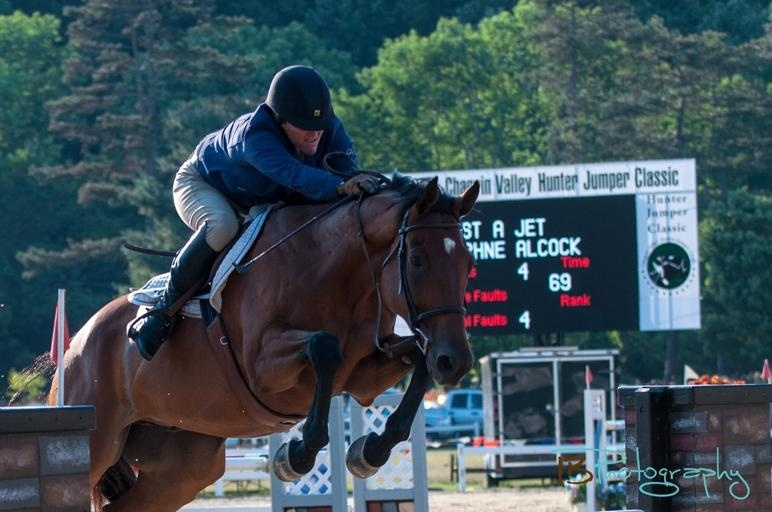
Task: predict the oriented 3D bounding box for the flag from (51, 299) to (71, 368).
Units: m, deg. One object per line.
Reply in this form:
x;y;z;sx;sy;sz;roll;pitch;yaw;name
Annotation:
-10.577;2.556;60.637;0.461;2.736;0.571;-9;44;-23;flag

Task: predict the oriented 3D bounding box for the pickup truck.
2.672;6.641;76.831;1.772;2.530;2.203;-6;1;-41;pickup truck
